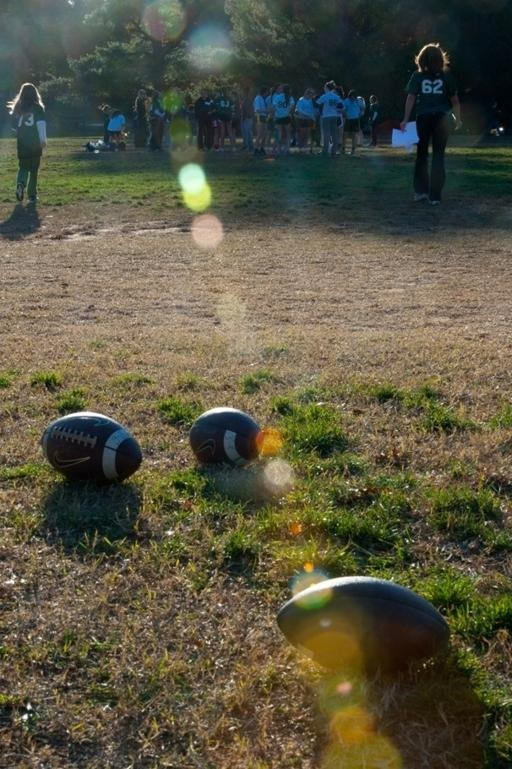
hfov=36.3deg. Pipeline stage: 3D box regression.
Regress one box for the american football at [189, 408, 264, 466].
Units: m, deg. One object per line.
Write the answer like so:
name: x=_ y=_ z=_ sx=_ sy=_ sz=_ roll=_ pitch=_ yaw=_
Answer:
american football: x=-0.163 y=0.297 z=4.228 sx=0.409 sy=0.337 sz=0.332 roll=7 pitch=-7 yaw=6

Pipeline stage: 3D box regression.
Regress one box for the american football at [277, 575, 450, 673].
american football: x=0.347 y=0.803 z=2.569 sx=0.563 sy=0.302 sz=0.167 roll=2 pitch=17 yaw=10

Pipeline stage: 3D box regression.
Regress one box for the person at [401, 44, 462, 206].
person: x=2.599 y=-3.944 z=11.665 sx=1.011 sy=2.760 sz=1.257 roll=0 pitch=3 yaw=0

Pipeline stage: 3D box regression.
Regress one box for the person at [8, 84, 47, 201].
person: x=-3.690 y=-4.080 z=13.123 sx=0.711 sy=2.361 sz=0.667 roll=-7 pitch=22 yaw=-26
